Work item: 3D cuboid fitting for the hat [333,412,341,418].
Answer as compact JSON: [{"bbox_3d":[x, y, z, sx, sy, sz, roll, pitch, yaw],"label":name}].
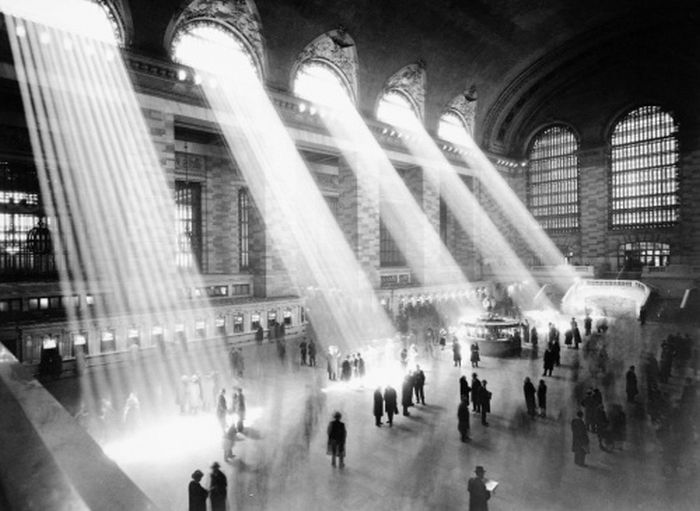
[{"bbox_3d":[-0.332,4.963,18.114,0.173,0.173,0.148,-5,-3,33],"label":"hat"}]
